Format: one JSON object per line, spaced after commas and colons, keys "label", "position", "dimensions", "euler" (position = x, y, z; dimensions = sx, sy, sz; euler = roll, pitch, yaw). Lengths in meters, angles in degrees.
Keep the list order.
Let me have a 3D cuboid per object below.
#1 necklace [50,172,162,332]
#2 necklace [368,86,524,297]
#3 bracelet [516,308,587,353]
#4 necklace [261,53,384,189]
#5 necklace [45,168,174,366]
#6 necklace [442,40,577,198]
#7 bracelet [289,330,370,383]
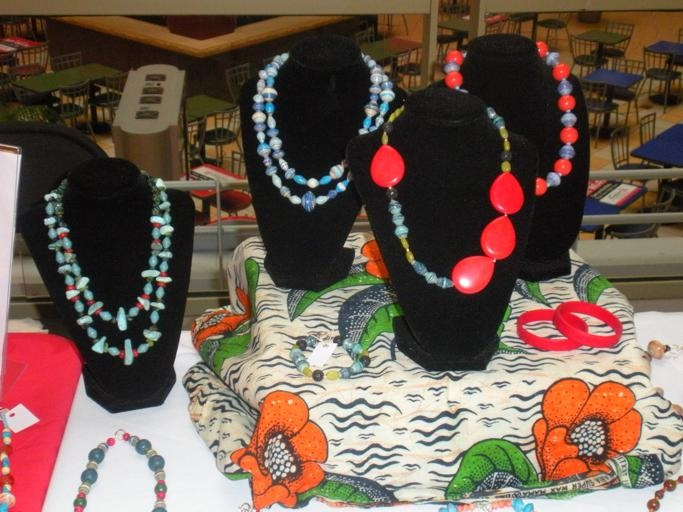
{"label": "necklace", "position": [-0.717, -0.007, 2.092], "dimensions": [0.376, 0.505, 0.169], "euler": [-1, 8, -16]}
{"label": "necklace", "position": [0.374, -0.174, 2.005], "dimensions": [0.475, 0.583, 0.051], "euler": [-4, 2, -10]}
{"label": "bracelet", "position": [0.660, 0.246, 2.142], "dimensions": [0.140, 0.037, 0.139], "euler": [-14, 32, -11]}
{"label": "necklace", "position": [-0.052, -0.448, 2.190], "dimensions": [0.448, 0.386, 0.258], "euler": [1, 26, 1]}
{"label": "necklace", "position": [-0.717, 0.026, 2.096], "dimensions": [0.472, 0.659, 0.367], "euler": [-8, 42, -21]}
{"label": "necklace", "position": [0.698, -0.429, 2.284], "dimensions": [0.429, 0.492, 0.068], "euler": [-4, 4, 2]}
{"label": "bracelet", "position": [-0.035, 0.319, 2.104], "dimensions": [0.170, 0.035, 0.151], "euler": [14, 38, 21]}
